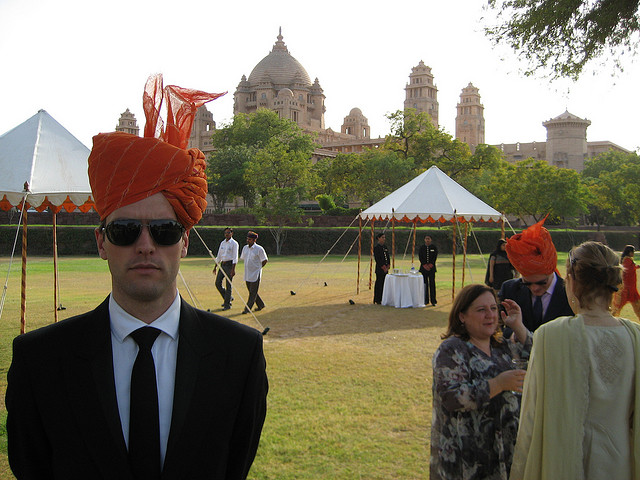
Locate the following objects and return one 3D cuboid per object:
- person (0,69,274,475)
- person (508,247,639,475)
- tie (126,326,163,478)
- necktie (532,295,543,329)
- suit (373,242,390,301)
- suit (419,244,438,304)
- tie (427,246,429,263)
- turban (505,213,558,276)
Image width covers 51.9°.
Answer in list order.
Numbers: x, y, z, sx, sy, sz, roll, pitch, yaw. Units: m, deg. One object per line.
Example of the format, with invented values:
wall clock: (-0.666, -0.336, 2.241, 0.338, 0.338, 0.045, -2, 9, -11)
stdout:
person: (-0.919, 0.311, 3.445, 1.261, 1.757, 0.569, 1, 3, 5)
person: (1.691, 0.819, 4.299, 0.745, 1.521, 0.474, 1, 3, -10)
tie: (-0.872, 0.805, 3.315, 0.158, 0.710, 0.223, 0, 3, -19)
necktie: (1.968, 0.641, 5.955, 0.084, 0.281, 0.128, 2, 3, 21)
suit: (1.542, 0.783, 16.447, 0.363, 1.462, 0.570, 1, 3, 6)
suit: (2.782, 0.845, 16.885, 0.470, 1.494, 1.158, 2, 3, 10)
tie: (2.700, 0.375, 16.407, 0.040, 0.388, 0.190, 1, 3, 9)
turban: (1.924, 0.080, 5.905, 0.482, 0.342, 0.421, -3, 40, 38)
